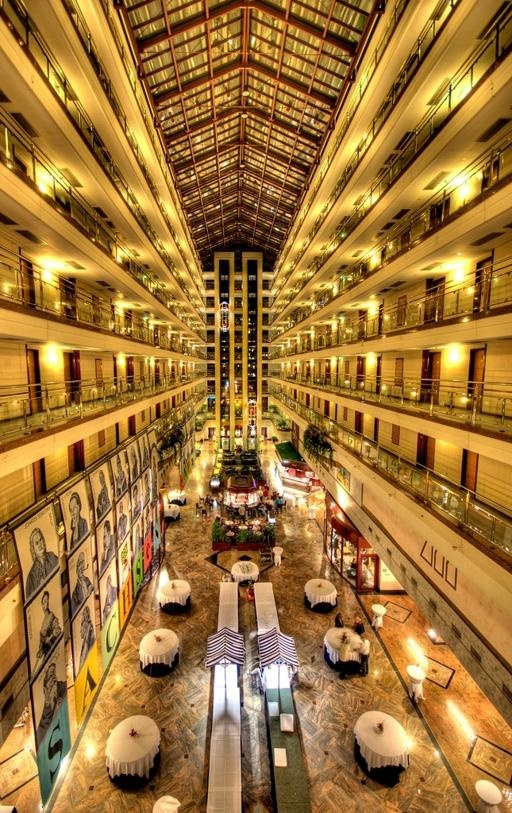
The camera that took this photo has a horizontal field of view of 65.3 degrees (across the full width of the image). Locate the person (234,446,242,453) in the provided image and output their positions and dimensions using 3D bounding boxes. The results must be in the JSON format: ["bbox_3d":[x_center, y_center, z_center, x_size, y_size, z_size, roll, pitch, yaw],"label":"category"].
[{"bbox_3d":[-1.833,4.834,44.767,0.731,0.830,0.432,3,14,0],"label":"person"}]

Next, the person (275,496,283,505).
[{"bbox_3d":[1.525,6.276,26.181,0.486,0.424,1.060,1,-1,4],"label":"person"}]

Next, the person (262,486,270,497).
[{"bbox_3d":[0.730,6.025,28.373,0.466,0.618,1.235,1,-1,3],"label":"person"}]
